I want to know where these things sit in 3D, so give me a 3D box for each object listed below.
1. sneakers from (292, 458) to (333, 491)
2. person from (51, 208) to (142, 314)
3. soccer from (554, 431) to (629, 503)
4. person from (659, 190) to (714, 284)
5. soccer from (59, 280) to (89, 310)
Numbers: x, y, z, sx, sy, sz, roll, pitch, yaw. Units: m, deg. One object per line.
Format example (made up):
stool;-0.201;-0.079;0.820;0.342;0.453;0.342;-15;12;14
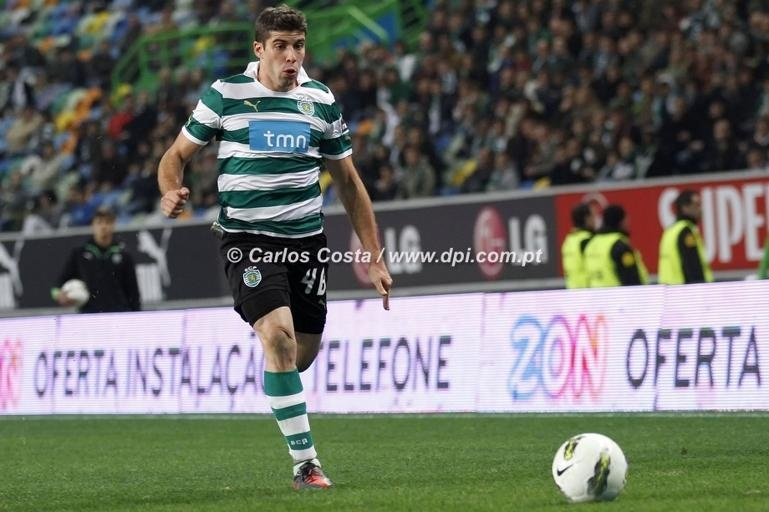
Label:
sneakers;-0.674;1.940;9.809;0.407;0.222;0.226;0;12;15
person;-3.680;0.493;13.990;1.081;2.167;0.723;-6;20;-25
soccer;1.739;1.835;9.388;0.588;0.562;0.565;-3;-29;2
person;3.499;-0.204;12.818;0.593;1.048;0.648;7;16;41
soccer;-3.917;0.482;13.786;0.172;0.381;0.320;6;15;37
